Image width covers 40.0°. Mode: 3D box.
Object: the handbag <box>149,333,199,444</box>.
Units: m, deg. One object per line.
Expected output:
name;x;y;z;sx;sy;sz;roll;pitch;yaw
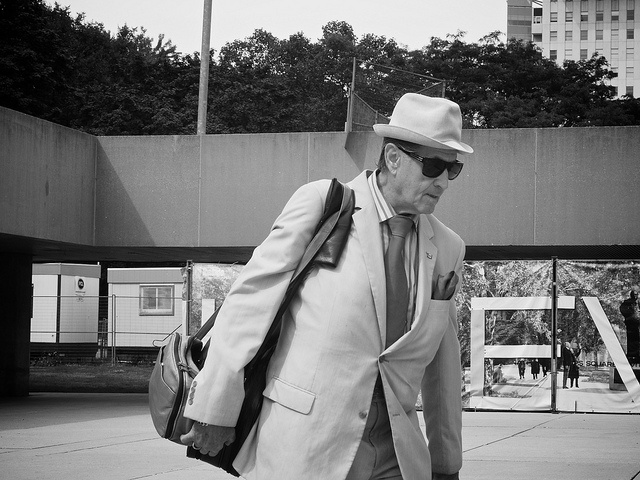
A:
handbag;-0.889;0.874;5.242;0.182;0.551;0.405;9;10;-19

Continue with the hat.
hat;0.656;-0.701;5.352;0.436;0.235;0.391;15;1;-7

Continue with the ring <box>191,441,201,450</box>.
ring;-0.725;1.203;5.142;0.043;0.011;0.046;18;40;-16
